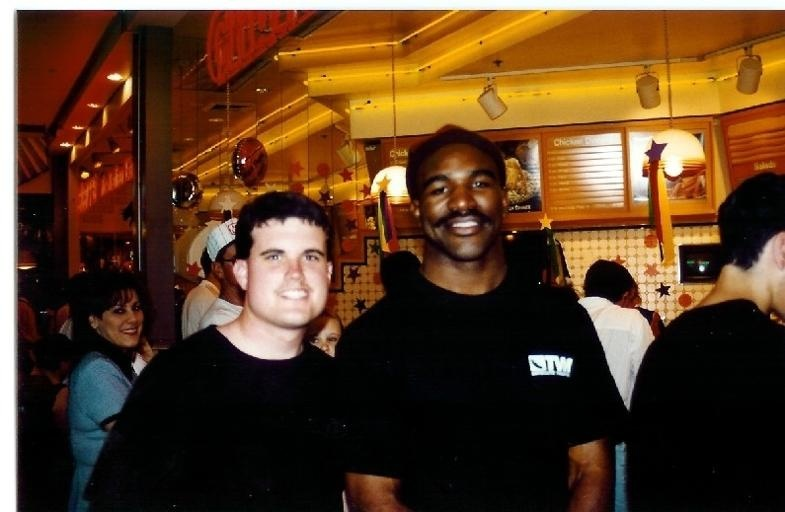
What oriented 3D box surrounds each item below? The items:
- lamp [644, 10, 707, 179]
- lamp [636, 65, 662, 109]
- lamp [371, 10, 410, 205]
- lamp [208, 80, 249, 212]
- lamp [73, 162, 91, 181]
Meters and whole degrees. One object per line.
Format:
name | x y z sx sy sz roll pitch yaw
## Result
lamp | 2.751 -1.494 6.001 0.586 1.615 2.042 0 1 22
lamp | 2.726 -1.838 6.472 0.273 0.392 0.391 -3 25 26
lamp | 0.050 -1.464 6.151 0.503 1.833 0.502 3 25 -2
lamp | -2.179 -1.300 8.273 0.521 1.818 0.498 5 2 5
lamp | -6.512 -1.793 12.741 0.381 0.385 0.378 -2 2 -20
